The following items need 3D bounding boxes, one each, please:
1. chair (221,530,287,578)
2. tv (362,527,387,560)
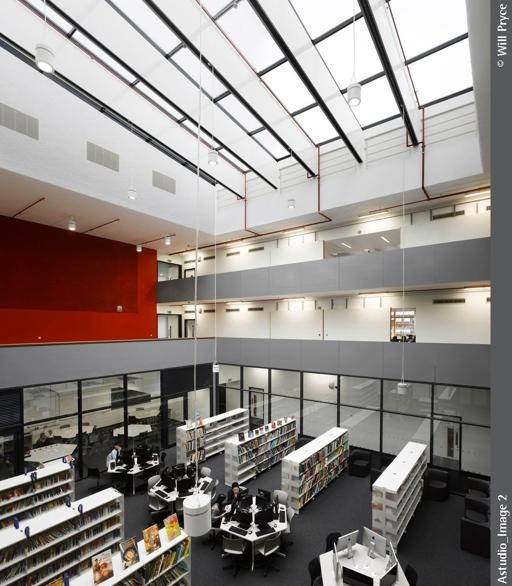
[{"bbox_3d":[-0.044,4.559,7.669,0.662,0.378,0.704,-3,-5,21],"label":"chair"},{"bbox_3d":[1.861,3.959,6.974,0.424,0.328,0.286,-6,-5,33],"label":"tv"}]
